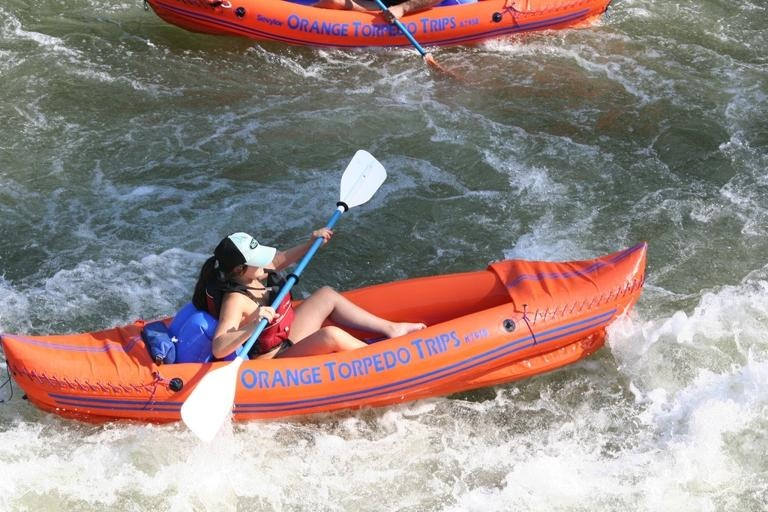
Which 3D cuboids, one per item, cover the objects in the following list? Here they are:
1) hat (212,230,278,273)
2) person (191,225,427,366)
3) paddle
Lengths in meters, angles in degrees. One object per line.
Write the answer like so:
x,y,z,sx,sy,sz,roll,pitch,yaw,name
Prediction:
-1.248,-0.047,7.459,0.511,0.242,0.302,-14,31,6,hat
-0.768,0.437,7.672,1.830,0.922,1.210,-2,46,-1,person
-0.965,0.493,8.229,0.564,0.183,4.003,46,77,-20,paddle
